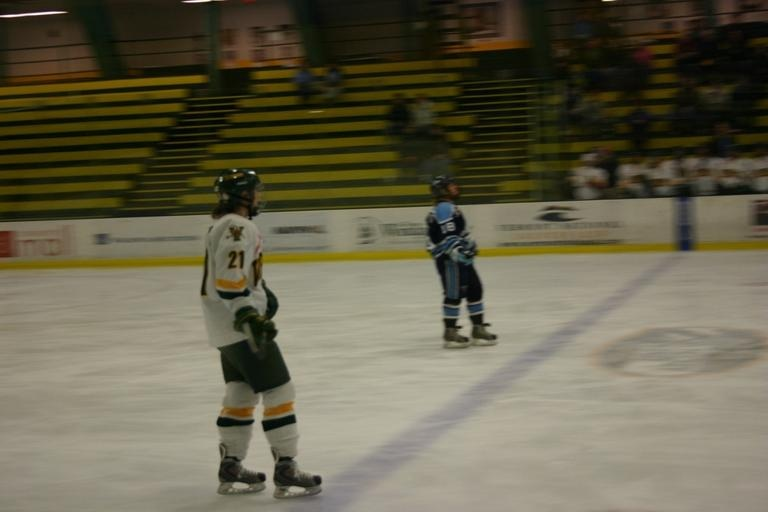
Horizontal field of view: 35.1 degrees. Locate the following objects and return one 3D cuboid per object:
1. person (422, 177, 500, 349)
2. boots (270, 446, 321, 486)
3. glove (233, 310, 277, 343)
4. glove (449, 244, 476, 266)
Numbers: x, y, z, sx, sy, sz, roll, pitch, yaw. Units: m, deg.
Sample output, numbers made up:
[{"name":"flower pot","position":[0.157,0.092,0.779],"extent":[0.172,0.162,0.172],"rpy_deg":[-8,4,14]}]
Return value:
[{"name":"person","position":[1.326,0.086,21.569],"extent":[1.010,2.983,1.005],"rpy_deg":[-5,13,2]},{"name":"boots","position":[-1.178,3.178,17.840],"extent":[0.965,0.486,0.288],"rpy_deg":[-3,-3,27]},{"name":"glove","position":[-1.835,1.008,17.737],"extent":[0.650,0.414,0.214],"rpy_deg":[30,-6,-1]},{"name":"glove","position":[1.424,-0.011,21.443],"extent":[0.490,0.362,0.155],"rpy_deg":[-5,12,-7]}]
